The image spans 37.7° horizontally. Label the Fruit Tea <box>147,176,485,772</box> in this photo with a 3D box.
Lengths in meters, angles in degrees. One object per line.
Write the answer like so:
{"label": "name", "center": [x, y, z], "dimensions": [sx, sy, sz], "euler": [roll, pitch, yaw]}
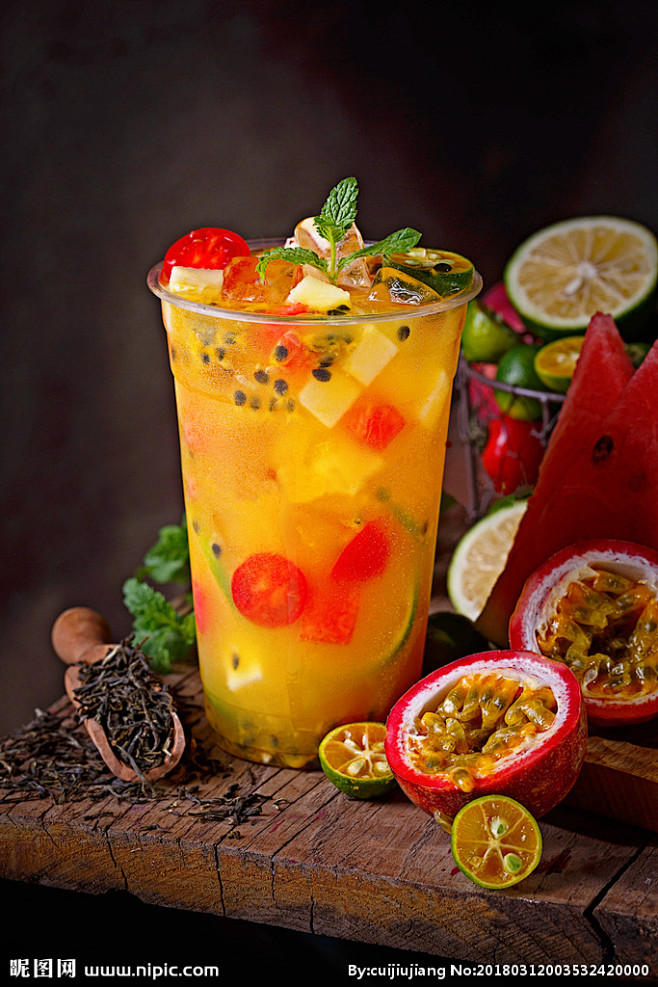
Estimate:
{"label": "Fruit Tea", "center": [0.005, -0.013, 0.951], "dimensions": [0.310, 0.515, 0.371], "euler": [-7, 46, -7]}
